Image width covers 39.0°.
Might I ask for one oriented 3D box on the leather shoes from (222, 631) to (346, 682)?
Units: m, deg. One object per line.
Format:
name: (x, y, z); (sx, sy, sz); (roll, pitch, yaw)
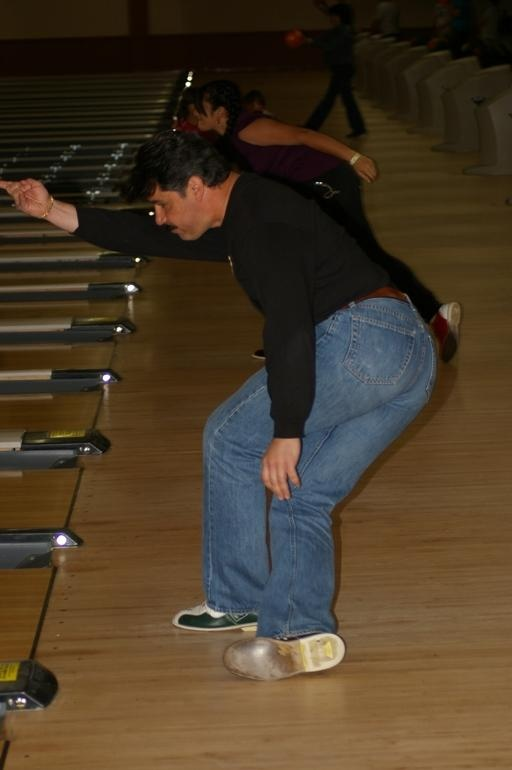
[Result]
leather shoes: (0.058, 0.555, 1.482); (0.264, 0.091, 0.073); (-2, -10, 1)

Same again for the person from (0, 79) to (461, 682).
person: (0.050, 0.037, 1.639); (0.629, 1.198, 0.775); (-9, 28, -9)

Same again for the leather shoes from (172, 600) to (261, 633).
leather shoes: (-0.097, 0.544, 1.719); (0.219, 0.073, 0.071); (3, -1, -2)
